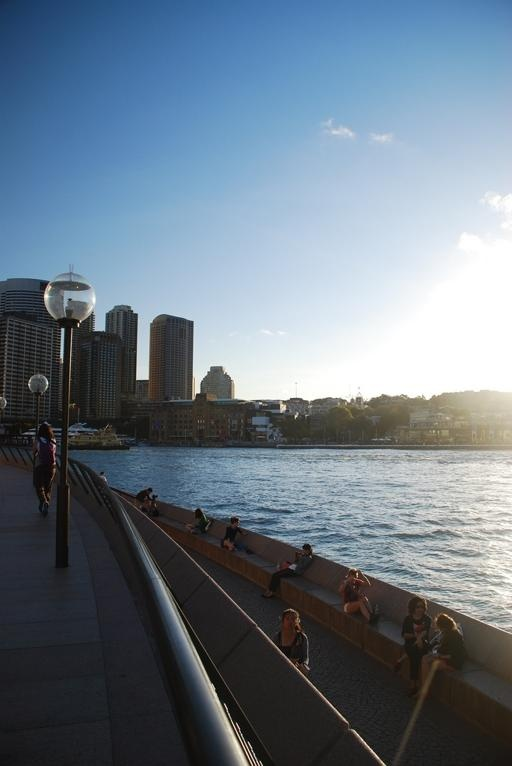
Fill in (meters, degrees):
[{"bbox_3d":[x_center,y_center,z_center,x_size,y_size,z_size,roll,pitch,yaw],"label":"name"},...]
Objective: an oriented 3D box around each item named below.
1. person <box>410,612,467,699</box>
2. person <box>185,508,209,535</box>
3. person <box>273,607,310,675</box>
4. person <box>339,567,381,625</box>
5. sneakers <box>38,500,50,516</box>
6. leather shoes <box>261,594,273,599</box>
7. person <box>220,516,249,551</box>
[{"bbox_3d":[2.303,3.418,7.539,0.594,0.858,0.348,-1,-2,18],"label":"person"},{"bbox_3d":[-1.625,3.950,17.095,0.630,0.871,0.752,0,-12,1],"label":"person"},{"bbox_3d":[0.494,3.337,7.865,0.483,0.873,0.435,0,-2,-25],"label":"person"},{"bbox_3d":[1.602,3.415,9.581,0.358,0.702,0.756,2,37,-19],"label":"person"},{"bbox_3d":[-3.862,2.299,11.002,0.115,0.358,0.146,-4,14,-14],"label":"sneakers"},{"bbox_3d":[0.219,4.156,11.716,0.080,0.097,0.238,-14,-28,42],"label":"leather shoes"},{"bbox_3d":[-0.522,3.771,14.996,0.623,0.818,0.786,6,-13,-44],"label":"person"}]
